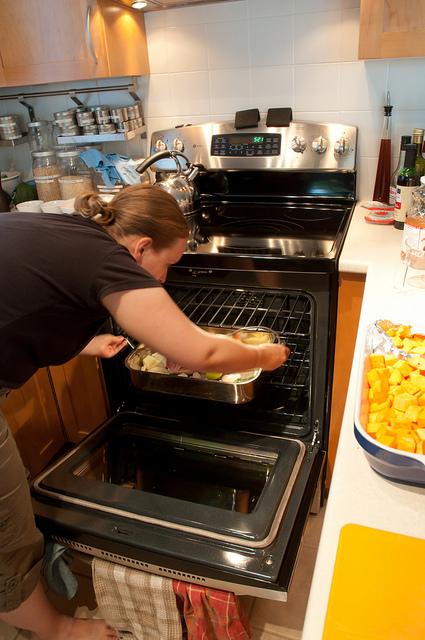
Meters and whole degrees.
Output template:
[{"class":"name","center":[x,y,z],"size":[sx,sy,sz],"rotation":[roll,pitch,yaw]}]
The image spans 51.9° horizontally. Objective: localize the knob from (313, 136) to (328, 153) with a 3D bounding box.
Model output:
[{"class":"knob","center":[0.438,-0.714,1.769],"size":[0.047,0.064,0.019],"rotation":[5,10,8]}]

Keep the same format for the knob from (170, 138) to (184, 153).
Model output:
[{"class":"knob","center":[-0.155,-0.785,1.951],"size":[0.059,0.078,0.027],"rotation":[-1,-7,13]}]

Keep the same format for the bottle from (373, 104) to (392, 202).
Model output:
[{"class":"bottle","center":[0.706,-0.676,1.784],"size":[0.061,0.368,0.048],"rotation":[4,24,20]}]

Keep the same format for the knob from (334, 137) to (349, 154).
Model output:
[{"class":"knob","center":[0.524,-0.707,1.755],"size":[0.045,0.061,0.014],"rotation":[5,11,15]}]
